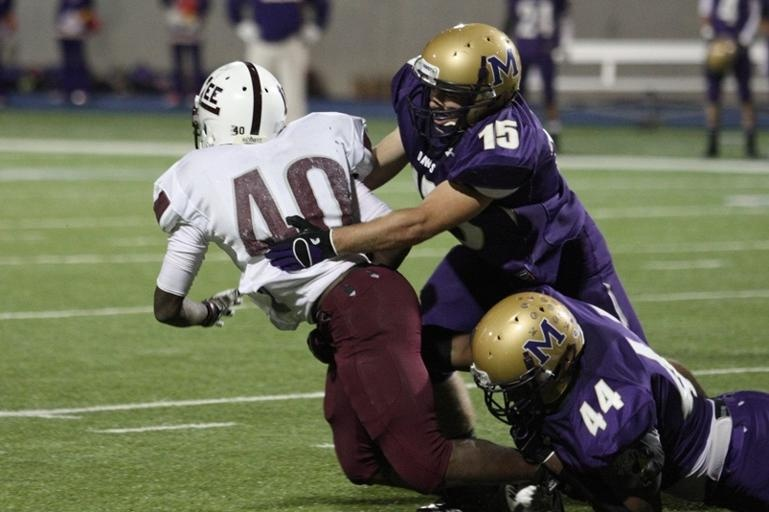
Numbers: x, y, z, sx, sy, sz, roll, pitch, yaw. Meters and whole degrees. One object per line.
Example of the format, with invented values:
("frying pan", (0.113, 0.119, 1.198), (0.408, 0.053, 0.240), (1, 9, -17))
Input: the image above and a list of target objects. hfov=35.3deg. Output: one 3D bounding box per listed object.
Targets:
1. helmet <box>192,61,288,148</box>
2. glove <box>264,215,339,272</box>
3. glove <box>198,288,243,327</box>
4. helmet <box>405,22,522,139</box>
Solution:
("helmet", (-0.679, -0.738, 6.083), (0.485, 0.395, 0.528), (0, 6, -9))
("glove", (-0.399, -0.060, 5.703), (0.333, 0.256, 0.061), (0, 11, -2))
("glove", (-0.835, 0.248, 6.058), (0.175, 0.246, 0.062), (11, 49, -39))
("helmet", (0.406, -0.917, 6.092), (0.614, 0.429, 0.489), (-30, 43, -32))
